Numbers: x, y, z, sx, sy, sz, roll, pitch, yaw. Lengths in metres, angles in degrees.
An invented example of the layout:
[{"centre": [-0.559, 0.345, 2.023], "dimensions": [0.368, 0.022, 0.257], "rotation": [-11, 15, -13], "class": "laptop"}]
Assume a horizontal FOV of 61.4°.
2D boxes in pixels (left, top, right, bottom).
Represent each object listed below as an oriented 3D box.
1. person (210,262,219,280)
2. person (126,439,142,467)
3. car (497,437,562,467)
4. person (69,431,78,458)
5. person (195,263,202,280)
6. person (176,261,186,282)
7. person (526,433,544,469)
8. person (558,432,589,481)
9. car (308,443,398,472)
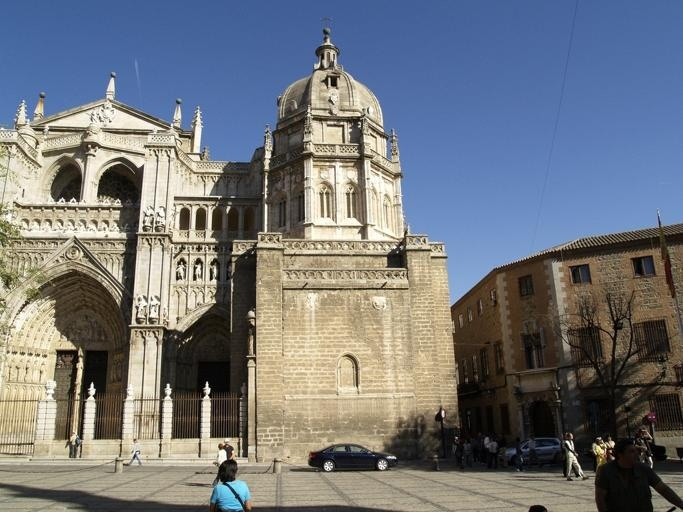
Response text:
[{"centre": [-8.094, 0.944, 36.735], "dimensions": [0.516, 1.344, 0.411], "rotation": [-8, -17, 19], "class": "person"}, {"centre": [-9.641, 9.177, 26.923], "dimensions": [0.595, 1.143, 2.334], "rotation": [3, -17, -19], "class": "person"}, {"centre": [9.271, 9.581, 27.415], "dimensions": [2.623, 1.297, 1.616], "rotation": [2, -15, 0], "class": "car"}, {"centre": [-12.944, 9.197, 27.806], "dimensions": [0.426, 1.094, 0.953], "rotation": [5, -17, -23], "class": "person"}, {"centre": [-9.132, 0.982, 36.616], "dimensions": [0.509, 1.135, 0.214], "rotation": [-7, -16, 15], "class": "person"}, {"centre": [-10.176, 0.904, 36.513], "dimensions": [0.607, 1.382, 0.303], "rotation": [1, -16, -11], "class": "person"}, {"centre": [9.061, 9.192, 27.123], "dimensions": [0.396, 1.324, 1.828], "rotation": [-7, -17, 18], "class": "person"}, {"centre": [8.573, 7.433, 21.422], "dimensions": [0.696, 1.581, 1.950], "rotation": [-8, -17, 20], "class": "person"}, {"centre": [0.346, 8.764, 24.878], "dimensions": [3.276, 1.013, 1.423], "rotation": [-1, -16, -3], "class": "car"}]
